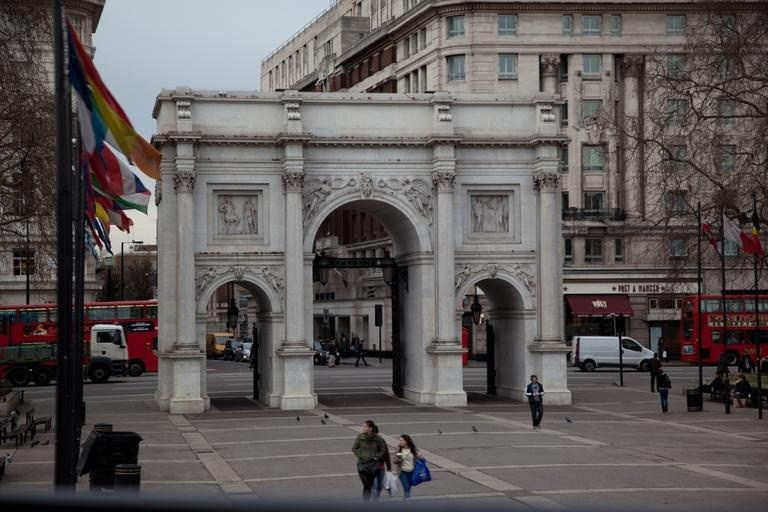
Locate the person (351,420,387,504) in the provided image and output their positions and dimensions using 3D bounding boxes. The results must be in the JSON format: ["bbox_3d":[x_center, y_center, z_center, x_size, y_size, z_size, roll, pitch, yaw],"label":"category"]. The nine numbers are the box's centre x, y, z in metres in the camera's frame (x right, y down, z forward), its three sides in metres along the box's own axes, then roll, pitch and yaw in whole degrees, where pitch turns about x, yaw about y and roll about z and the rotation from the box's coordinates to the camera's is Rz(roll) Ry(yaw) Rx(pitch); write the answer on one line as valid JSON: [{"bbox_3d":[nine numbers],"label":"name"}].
[{"bbox_3d":[-0.413,7.107,46.255,1.240,2.695,0.892,-1,-5,-1],"label":"person"}]

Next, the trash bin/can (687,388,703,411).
[{"bbox_3d":[15.109,6.955,64.279,1.079,1.120,0.716,0,-5,-16],"label":"trash bin/can"}]

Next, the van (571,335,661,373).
[{"bbox_3d":[15.148,6.505,89.037,5.942,2.341,2.624,1,-3,-17],"label":"van"}]

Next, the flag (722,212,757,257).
[{"bbox_3d":[18.397,-1.167,68.504,2.273,1.923,0.251,29,-50,-23],"label":"flag"}]

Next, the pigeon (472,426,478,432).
[{"bbox_3d":[3.943,7.472,56.807,0.133,0.117,0.329,-4,-30,17],"label":"pigeon"}]

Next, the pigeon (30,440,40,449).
[{"bbox_3d":[-14.359,7.770,54.712,0.166,0.119,0.383,10,17,13],"label":"pigeon"}]

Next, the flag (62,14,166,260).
[{"bbox_3d":[-9.337,-5.291,45.127,1.799,4.776,5.089,-2,-5,11],"label":"flag"}]

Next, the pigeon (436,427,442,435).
[{"bbox_3d":[2.400,7.576,57.239,0.191,0.154,0.393,0,-1,-2],"label":"pigeon"}]

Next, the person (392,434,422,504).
[{"bbox_3d":[0.837,7.401,46.031,1.042,2.224,0.937,-1,-2,-12],"label":"person"}]

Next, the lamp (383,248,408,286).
[{"bbox_3d":[0.643,0.716,68.665,1.347,2.086,1.627,-1,-5,1],"label":"lamp"}]

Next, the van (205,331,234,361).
[{"bbox_3d":[-14.336,7.792,115.514,2.127,1.811,3.414,1,-5,-17],"label":"van"}]
